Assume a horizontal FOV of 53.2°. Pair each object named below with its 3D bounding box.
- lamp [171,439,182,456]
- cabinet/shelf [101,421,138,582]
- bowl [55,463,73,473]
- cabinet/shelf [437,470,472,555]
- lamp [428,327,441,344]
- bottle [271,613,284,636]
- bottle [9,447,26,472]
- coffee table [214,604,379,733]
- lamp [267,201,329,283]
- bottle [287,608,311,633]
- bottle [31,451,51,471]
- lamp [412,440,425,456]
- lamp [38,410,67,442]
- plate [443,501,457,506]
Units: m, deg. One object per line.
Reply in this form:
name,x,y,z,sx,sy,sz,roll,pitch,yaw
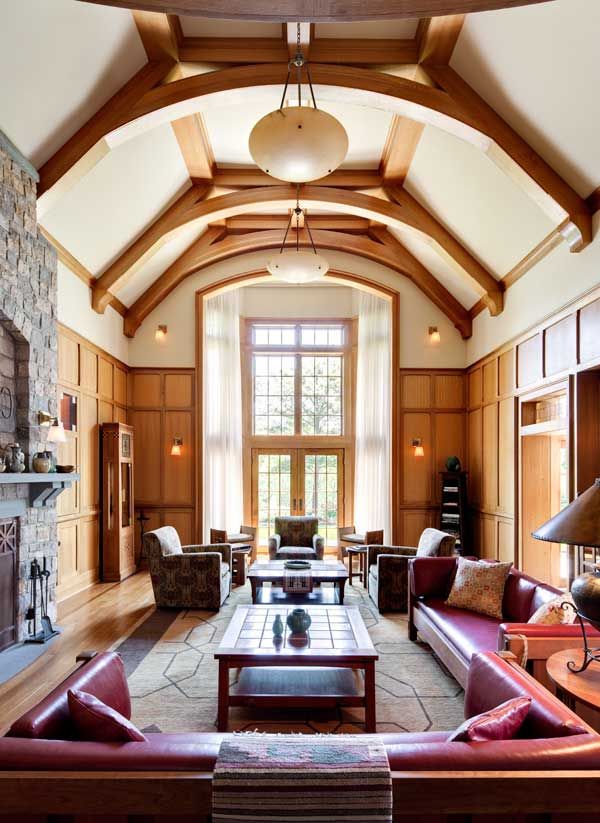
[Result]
lamp,-1.789,0.534,8.748,0.151,0.248,0.134,1,-5,-9
cabinet/shelf,-2.343,1.172,7.840,0.301,1.991,0.874,0,-5,2
bowl,-2.119,0.525,5.435,0.145,0.072,0.390,2,-5,-23
cabinet/shelf,2.112,1.306,8.253,0.294,0.966,0.356,-11,12,-43
lamp,2.000,-1.144,8.976,0.176,0.250,0.078,-1,-5,13
bottle,-0.137,1.301,3.636,0.090,0.142,0.093,0,-4,0
bottle,-2.228,0.374,4.757,0.119,0.222,0.424,3,-6,-24
coffee table,0.002,1.438,3.978,0.938,0.506,1.371,-1,12,-2
lamp,-0.047,-1.897,6.508,0.591,0.973,0.654,6,5,9
bottle,-0.008,1.279,3.714,0.117,0.154,0.131,-4,2,5
bottle,-2.163,0.424,5.053,0.152,0.193,0.154,0,1,0
lamp,1.744,0.550,8.880,0.157,0.261,0.109,0,-5,7
lamp,-2.181,0.142,5.348,0.220,0.296,0.239,0,-2,-2
plate,2.055,1.275,8.255,0.021,0.066,0.200,5,-7,-41
